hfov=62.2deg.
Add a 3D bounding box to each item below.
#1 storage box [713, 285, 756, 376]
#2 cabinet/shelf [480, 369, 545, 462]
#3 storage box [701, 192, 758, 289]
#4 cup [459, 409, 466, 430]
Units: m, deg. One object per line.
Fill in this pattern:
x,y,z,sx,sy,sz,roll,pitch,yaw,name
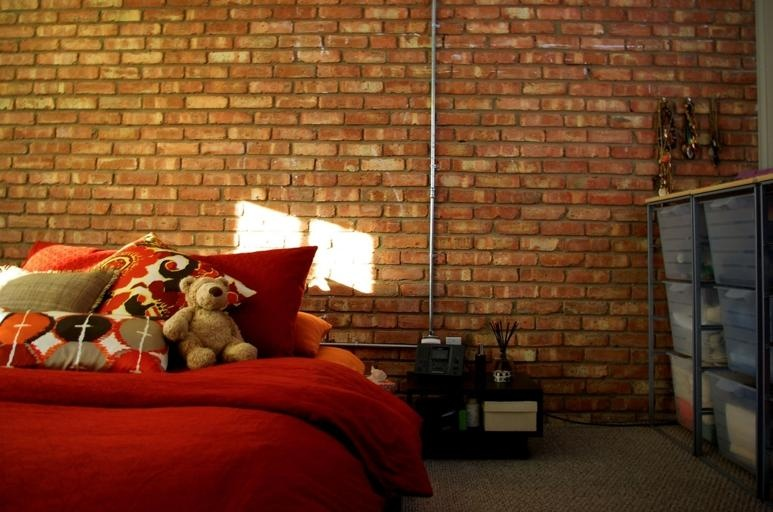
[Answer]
1.853,0.390,3.373,0.095,0.371,0.232,-1,0,-3,storage box
0.715,0.918,3.674,0.330,0.407,0.243,-1,0,7,cabinet/shelf
1.808,-0.083,3.358,0.111,0.394,0.316,-1,0,-5,storage box
0.436,0.931,3.669,0.046,0.106,0.022,-1,0,-5,cup
